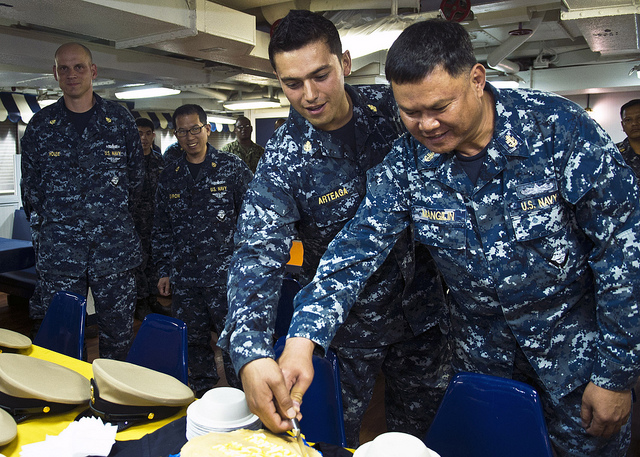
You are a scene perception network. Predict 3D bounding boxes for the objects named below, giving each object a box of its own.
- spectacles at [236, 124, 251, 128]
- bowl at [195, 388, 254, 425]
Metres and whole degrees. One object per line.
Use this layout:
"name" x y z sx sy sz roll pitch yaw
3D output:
"spectacles" -1.163 -1.535 7.824 0.162 0.052 0.080 -1 2 -12
"bowl" -0.342 0.621 1.828 0.197 0.082 0.150 -1 2 -13
